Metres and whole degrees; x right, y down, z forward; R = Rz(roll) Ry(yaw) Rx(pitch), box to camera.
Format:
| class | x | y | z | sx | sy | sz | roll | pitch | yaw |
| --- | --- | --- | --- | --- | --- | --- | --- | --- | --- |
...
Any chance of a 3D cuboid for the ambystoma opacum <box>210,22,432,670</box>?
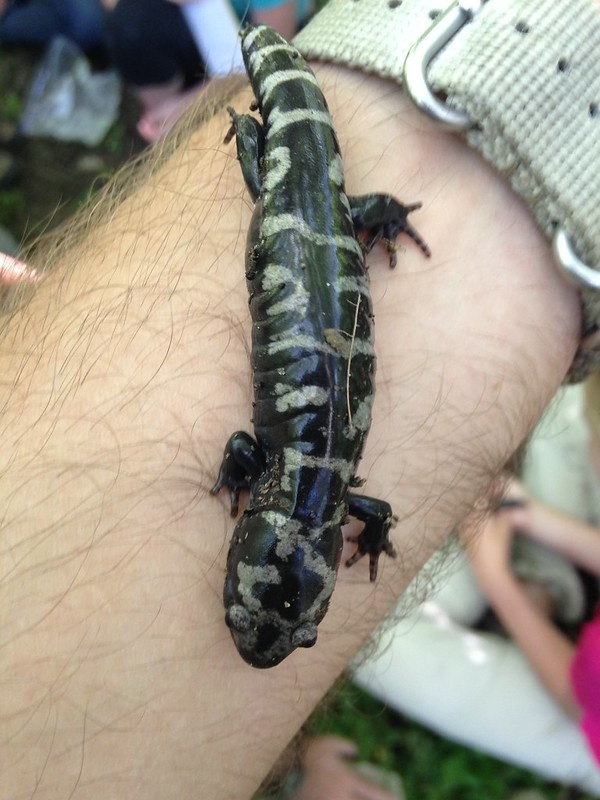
| class | x | y | z | sx | sy | sz | roll | pitch | yaw |
| --- | --- | --- | --- | --- | --- | --- | --- | --- | --- |
| ambystoma opacum | 0.032 | -0.127 | 2.221 | 0.535 | 0.325 | 1.388 | 5 | 88 | -1 |
